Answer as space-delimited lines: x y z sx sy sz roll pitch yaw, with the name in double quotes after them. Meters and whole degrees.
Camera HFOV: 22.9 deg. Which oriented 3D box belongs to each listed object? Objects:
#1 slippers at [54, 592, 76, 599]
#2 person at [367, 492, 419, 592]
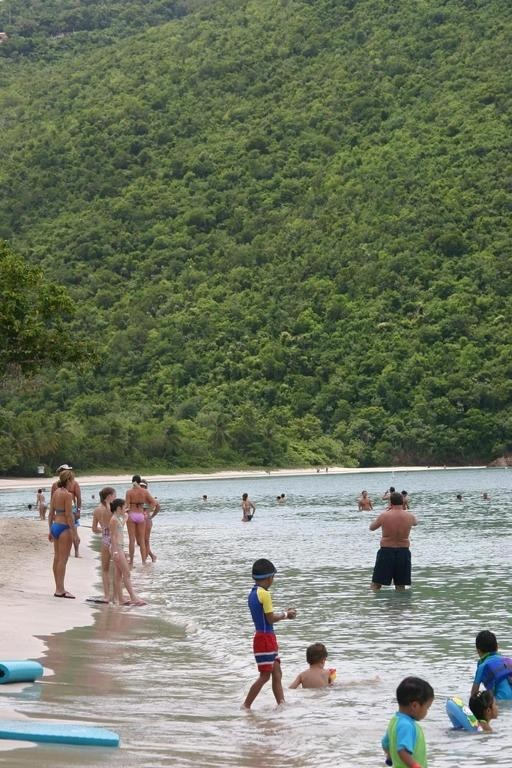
-2.468 2.695 16.219 0.193 0.083 0.116 0 3 2 "slippers"
1.911 2.225 17.764 0.622 1.477 1.471 0 1 6 "person"
